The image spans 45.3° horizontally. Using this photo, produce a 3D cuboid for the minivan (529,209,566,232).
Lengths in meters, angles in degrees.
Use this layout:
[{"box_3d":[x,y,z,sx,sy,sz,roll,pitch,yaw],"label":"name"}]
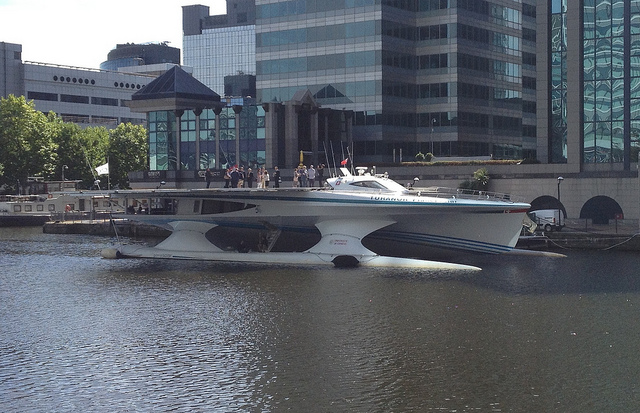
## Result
[{"box_3d":[17.436,1.048,59.361,2.160,1.044,1.476,5,5,24],"label":"minivan"}]
